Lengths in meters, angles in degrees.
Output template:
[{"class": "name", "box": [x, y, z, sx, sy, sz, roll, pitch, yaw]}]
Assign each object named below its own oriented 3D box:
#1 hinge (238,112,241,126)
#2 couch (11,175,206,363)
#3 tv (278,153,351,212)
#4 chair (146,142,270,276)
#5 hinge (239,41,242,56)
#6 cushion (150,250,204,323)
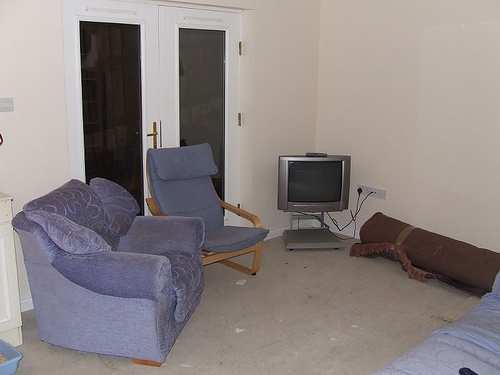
[{"class": "hinge", "box": [-0.112, -0.738, 4.399, 0.021, 0.140, 0.014, 1, 16, 7]}, {"class": "couch", "box": [-0.959, 0.522, 2.979, 1.076, 1.026, 1.065, 4, 14, 5]}, {"class": "tv", "box": [0.644, -0.084, 4.598, 0.930, 0.910, 0.558, 0, 9, -2]}, {"class": "chair", "box": [-0.402, 0.265, 3.676, 0.800, 1.173, 0.968, -13, 22, -42]}, {"class": "hinge", "box": [-0.101, -1.466, 4.277, 0.027, 0.138, 0.029, -1, 16, -1]}, {"class": "cushion", "box": [-0.487, 0.672, 2.895, 0.376, 0.350, 0.365, -3, 4, -38]}]
